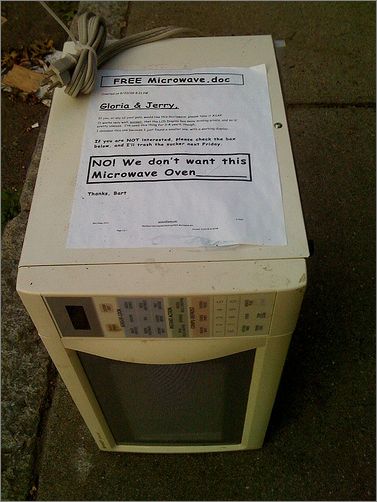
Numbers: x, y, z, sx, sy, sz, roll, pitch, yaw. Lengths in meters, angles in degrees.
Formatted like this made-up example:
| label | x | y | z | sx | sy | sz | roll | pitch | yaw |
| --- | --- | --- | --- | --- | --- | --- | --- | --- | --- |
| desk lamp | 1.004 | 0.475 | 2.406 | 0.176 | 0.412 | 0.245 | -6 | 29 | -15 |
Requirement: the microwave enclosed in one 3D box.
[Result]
| label | x | y | z | sx | sy | sz | roll | pitch | yaw |
| --- | --- | --- | --- | --- | --- | --- | --- | --- | --- |
| microwave | -0.026 | 0.064 | 1.225 | 0.529 | 0.846 | 0.813 | -2 | 58 | 2 |
